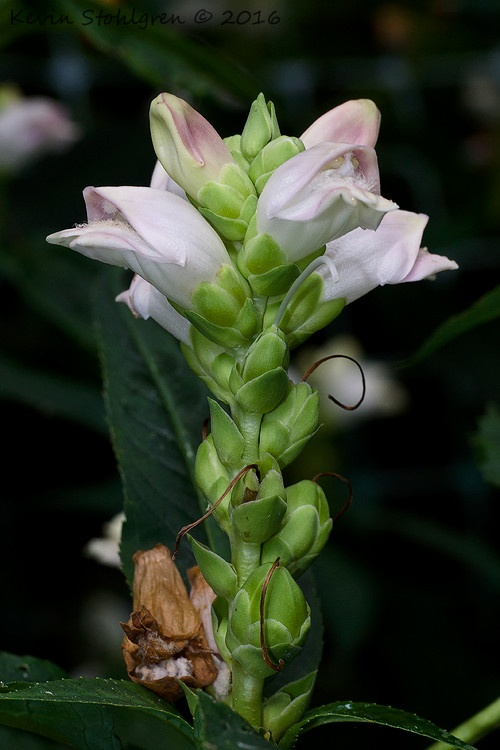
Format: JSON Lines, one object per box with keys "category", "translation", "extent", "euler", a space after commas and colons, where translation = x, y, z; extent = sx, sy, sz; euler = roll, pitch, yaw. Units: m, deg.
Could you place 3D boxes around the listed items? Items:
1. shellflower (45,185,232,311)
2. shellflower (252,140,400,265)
{"category": "shellflower", "translation": [-0.069, -0.092, 0.529], "extent": [0.146, 0.050, 0.088], "euler": [19, 17, 6]}
{"category": "shellflower", "translation": [0.048, -0.110, 0.500], "extent": [0.087, 0.085, 0.070], "euler": [2, 24, -1]}
